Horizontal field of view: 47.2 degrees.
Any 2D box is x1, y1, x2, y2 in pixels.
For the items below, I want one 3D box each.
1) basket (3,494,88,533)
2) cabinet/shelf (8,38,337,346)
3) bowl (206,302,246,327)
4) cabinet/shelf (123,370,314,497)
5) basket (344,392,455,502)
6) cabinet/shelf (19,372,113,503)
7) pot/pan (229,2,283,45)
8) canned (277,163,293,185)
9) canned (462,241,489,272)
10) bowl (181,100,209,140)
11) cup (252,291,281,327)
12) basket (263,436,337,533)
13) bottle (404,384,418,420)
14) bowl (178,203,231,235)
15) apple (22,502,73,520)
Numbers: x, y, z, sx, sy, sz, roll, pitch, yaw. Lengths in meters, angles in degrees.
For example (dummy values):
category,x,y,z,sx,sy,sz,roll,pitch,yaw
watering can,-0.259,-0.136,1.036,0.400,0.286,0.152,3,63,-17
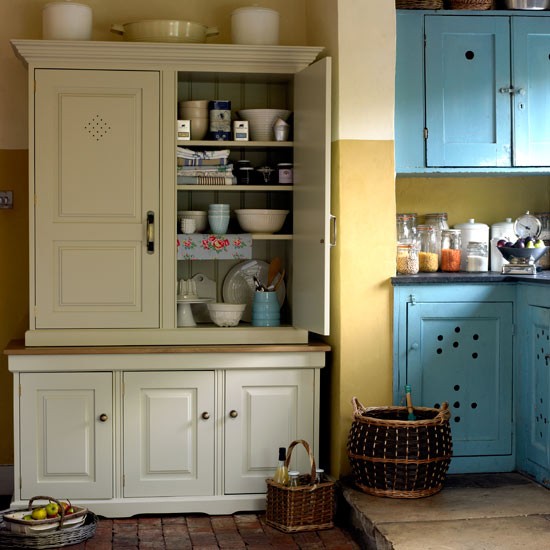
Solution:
category,x,y,z,sx,sy,sz,roll,pitch,yaw
basket,-0.945,0.977,2.573,0.244,0.098,0.182,3,-5,-37
cabinet/shelf,-0.568,-0.318,3.339,1.636,1.483,0.861,1,7,-23
bowl,-0.233,0.192,3.082,0.135,0.081,0.132,1,-4,0
cabinet/shelf,-0.302,0.725,2.877,0.645,0.440,0.237,0,-2,-4
basket,0.555,0.745,2.792,0.416,0.341,0.405,5,-8,-35
cabinet/shelf,-0.881,0.709,2.931,0.327,0.401,0.269,-1,-7,6
pot/pan,-0.101,-1.181,3.104,0.215,0.177,0.210,0,2,-34
canned,0.052,-0.505,3.154,0.099,0.103,0.099,-2,7,-16
canned,1.065,-0.094,3.404,0.168,0.152,0.124,3,-4,-44
bowl,-0.383,-0.768,3.169,0.183,0.186,0.176,-1,0,0
cup,-0.042,0.172,3.130,0.169,0.168,0.161,0,-3,0
basket,0.114,0.924,2.807,0.281,0.343,0.253,4,-9,-30
bottle,0.613,0.570,2.843,0.047,0.146,0.035,-5,6,-7
bowl,-0.345,-0.280,3.092,0.237,0.099,0.137,-2,2,0
apple,-0.938,0.942,2.570,0.162,0.048,0.090,0,-3,-9
